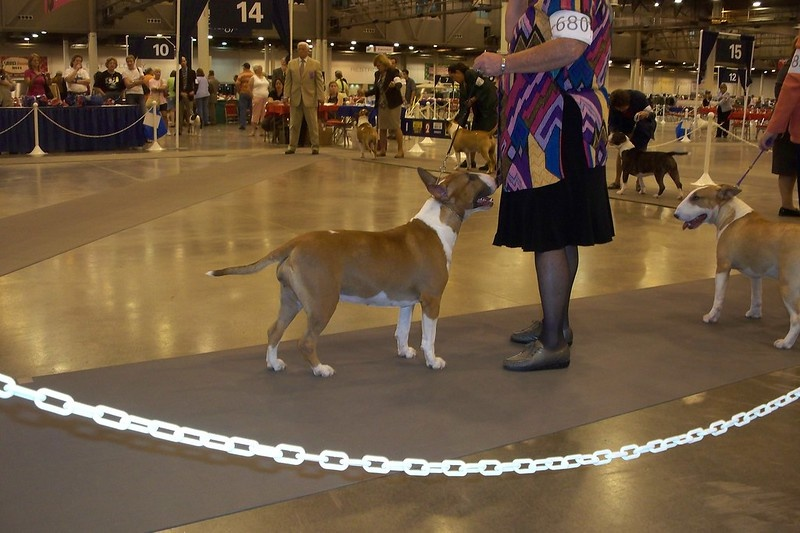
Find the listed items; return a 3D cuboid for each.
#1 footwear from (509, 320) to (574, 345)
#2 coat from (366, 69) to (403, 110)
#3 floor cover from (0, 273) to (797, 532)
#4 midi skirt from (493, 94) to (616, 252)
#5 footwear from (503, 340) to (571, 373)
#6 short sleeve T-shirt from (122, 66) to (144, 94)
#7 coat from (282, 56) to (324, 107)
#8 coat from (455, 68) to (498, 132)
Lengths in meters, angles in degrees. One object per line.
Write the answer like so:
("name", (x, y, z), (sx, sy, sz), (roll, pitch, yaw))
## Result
("footwear", (1.008, 0.472, 4.572), (0.472, 0.222, 0.179), (0, 0, -2))
("coat", (-0.364, -4.305, 15.260), (0.806, 1.234, 0.726), (7, 24, 21))
("floor cover", (0.044, 0.802, 3.865), (4.582, 0.217, 1.819), (-5, 18, -21))
("midi skirt", (0.987, -0.675, 4.383), (0.969, 1.270, 0.790), (1, 7, 20))
("footwear", (0.914, 0.594, 4.272), (0.491, 0.227, 0.179), (-1, -2, -6))
("short sleeve T-shirt", (-6.987, -4.823, 16.741), (0.515, 0.936, 0.308), (-2, -5, -11))
("coat", (-2.359, -4.498, 15.592), (0.930, 1.168, 0.592), (3, 14, 6))
("coat", (1.503, -3.341, 12.789), (0.854, 1.315, 0.670), (-9, 16, -2))
